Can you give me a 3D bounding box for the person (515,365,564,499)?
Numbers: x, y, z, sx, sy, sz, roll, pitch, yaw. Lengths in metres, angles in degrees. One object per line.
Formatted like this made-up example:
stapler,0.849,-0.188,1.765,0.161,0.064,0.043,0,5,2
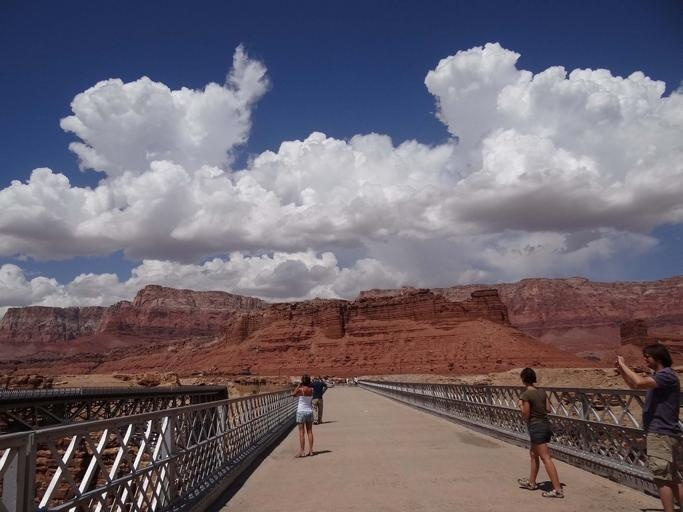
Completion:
person,3.467,3.103,6.346,0.627,2.150,1.455,-7,-11,27
